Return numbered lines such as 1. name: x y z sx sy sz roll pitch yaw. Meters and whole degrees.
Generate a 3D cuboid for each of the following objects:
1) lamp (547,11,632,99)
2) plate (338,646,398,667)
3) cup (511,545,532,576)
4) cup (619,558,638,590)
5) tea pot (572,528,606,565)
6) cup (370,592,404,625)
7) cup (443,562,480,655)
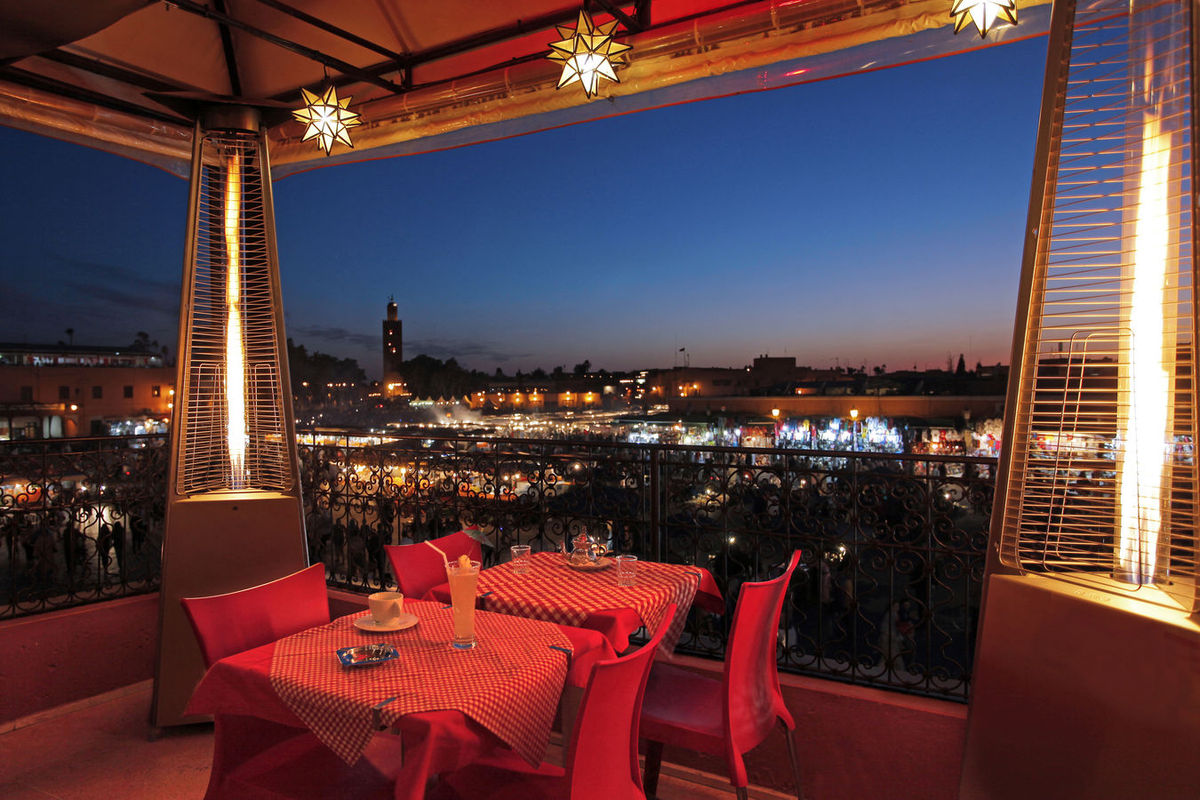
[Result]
1. lamp: -0.075 -2.052 4.543 0.414 0.403 0.302 -1 -2 -22
2. plate: -1.074 1.181 3.537 0.144 0.026 0.120 0 4 3
3. cup: -0.469 0.962 4.594 0.128 0.143 0.132 0 -1 0
4. cup: 0.151 0.992 4.399 0.115 0.132 0.117 -2 -5 0
5. tea pot: -0.058 0.922 4.707 0.138 0.195 0.194 -2 -9 3
6. cup: -1.058 1.042 3.826 0.134 0.111 0.165 2 -8 -38
7. cup: -0.654 0.961 3.670 0.149 0.436 0.124 -2 -1 7
